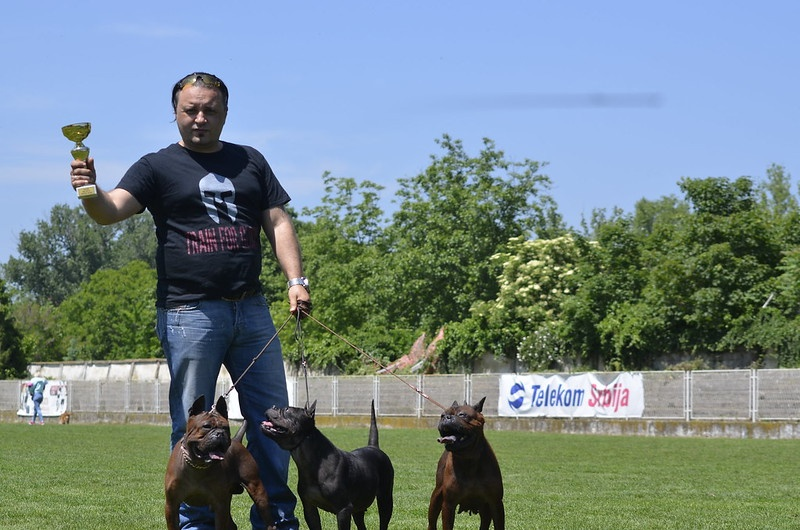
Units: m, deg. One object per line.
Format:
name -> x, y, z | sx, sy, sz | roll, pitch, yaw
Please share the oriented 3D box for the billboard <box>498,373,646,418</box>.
billboard -> 6.981, 5.199, 56.850 | 6.142, 1.865, 0.264 | -6, -7, 31
